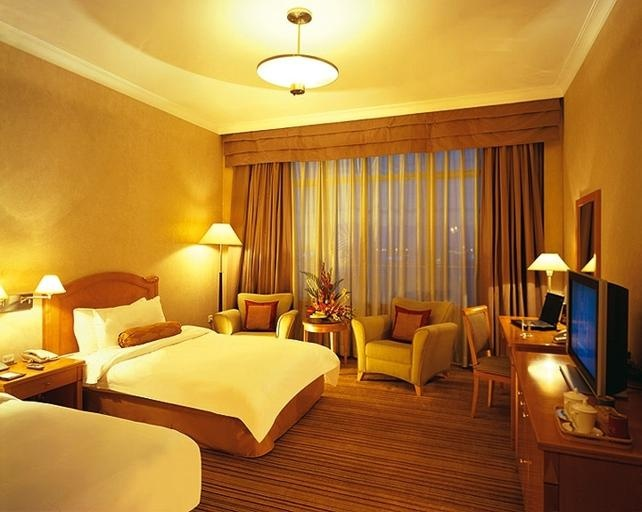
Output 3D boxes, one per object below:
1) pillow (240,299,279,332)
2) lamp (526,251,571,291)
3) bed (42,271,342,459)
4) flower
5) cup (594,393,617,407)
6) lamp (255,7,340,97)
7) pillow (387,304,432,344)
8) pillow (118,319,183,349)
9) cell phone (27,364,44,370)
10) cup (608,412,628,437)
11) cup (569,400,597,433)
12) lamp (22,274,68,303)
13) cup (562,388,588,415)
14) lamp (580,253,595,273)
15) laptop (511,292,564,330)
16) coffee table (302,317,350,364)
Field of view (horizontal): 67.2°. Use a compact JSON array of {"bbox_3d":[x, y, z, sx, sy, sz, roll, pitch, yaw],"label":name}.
[{"bbox_3d":[-0.778,0.775,6.218,0.330,0.347,0.121,1,-28,1],"label":"pillow"},{"bbox_3d":[2.509,0.165,5.337,0.364,0.603,0.385,1,-8,-5],"label":"lamp"},{"bbox_3d":[-1.236,1.019,4.618,2.044,1.231,1.611,1,3,19],"label":"bed"},{"bbox_3d":[0.120,0.460,6.177,0.640,0.691,0.663,0,-3,-15],"label":"flower"},{"bbox_3d":[1.708,0.864,2.922,0.095,0.087,0.104,-1,-3,0],"label":"cup"},{"bbox_3d":[-0.197,-1.764,4.224,0.652,0.634,0.577,-8,11,-42],"label":"lamp"},{"bbox_3d":[1.022,0.787,5.628,0.384,0.398,0.115,3,-20,46],"label":"pillow"},{"bbox_3d":[-1.742,0.755,4.856,0.160,0.127,0.497,-30,-16,24],"label":"pillow"},{"bbox_3d":[-2.419,0.945,4.139,0.166,0.031,0.073,4,9,27],"label":"cell phone"},{"bbox_3d":[1.604,0.921,2.625,0.076,0.131,0.127,-3,-9,18],"label":"cup"},{"bbox_3d":[1.435,0.894,2.662,0.109,0.155,0.147,-1,-9,13],"label":"cup"},{"bbox_3d":[-2.517,0.293,4.464,0.298,0.197,0.219,-3,-4,20],"label":"lamp"},{"bbox_3d":[1.449,0.842,2.813,0.108,0.151,0.148,-1,-6,12],"label":"cup"},{"bbox_3d":[2.455,0.066,4.451,0.159,0.186,0.164,-4,-4,44],"label":"lamp"},{"bbox_3d":[2.159,0.571,4.764,0.344,0.325,0.449,-1,-1,4],"label":"laptop"},{"bbox_3d":[0.110,1.029,6.101,0.570,0.727,0.606,0,-7,-8],"label":"coffee table"}]
